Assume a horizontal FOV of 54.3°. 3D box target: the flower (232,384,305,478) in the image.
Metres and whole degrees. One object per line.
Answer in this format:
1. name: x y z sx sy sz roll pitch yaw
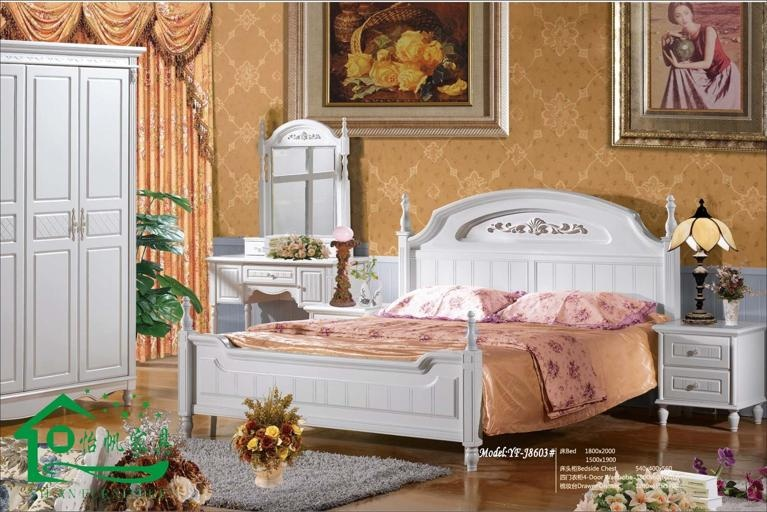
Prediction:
1. flower: -0.691 1.088 4.475 0.416 0.558 0.204 0 5 -7

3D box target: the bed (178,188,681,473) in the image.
1. bed: 0.499 0.430 5.771 2.677 1.646 2.788 0 -1 35

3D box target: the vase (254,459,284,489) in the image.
1. vase: -0.685 1.280 4.523 0.184 0.172 0.165 -4 10 -38

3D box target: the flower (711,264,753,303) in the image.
1. flower: 2.830 0.228 6.063 0.307 0.285 0.345 2 5 22
